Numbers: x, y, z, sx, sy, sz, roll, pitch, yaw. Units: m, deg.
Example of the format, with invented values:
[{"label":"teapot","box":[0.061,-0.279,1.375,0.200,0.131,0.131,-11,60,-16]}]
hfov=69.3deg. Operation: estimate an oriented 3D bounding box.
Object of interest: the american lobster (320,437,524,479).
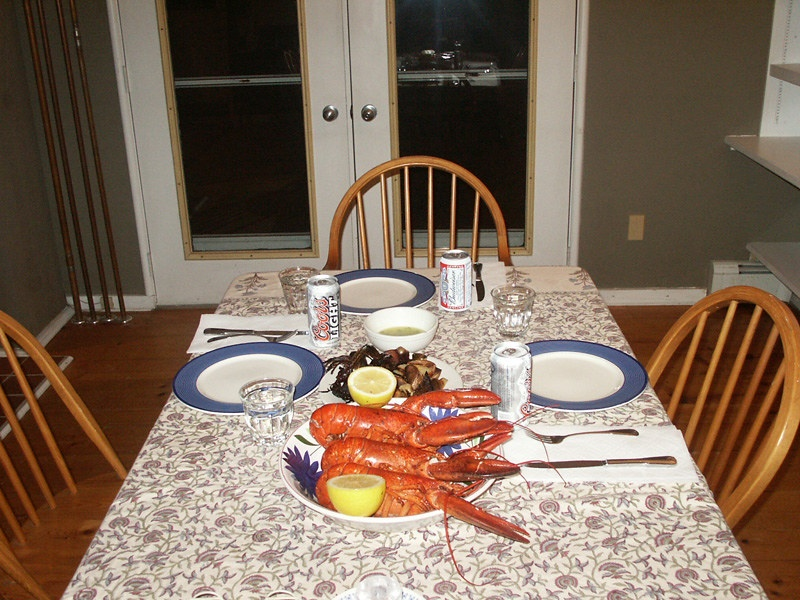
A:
[{"label":"american lobster","box":[0.016,0.245,0.892,0.296,0.049,0.086,-2,4,13]}]

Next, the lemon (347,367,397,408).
[{"label":"lemon","box":[-0.044,0.161,1.106,0.095,0.051,0.093,-4,-5,-42]}]

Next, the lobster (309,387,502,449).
[{"label":"lobster","box":[0.010,0.205,0.980,0.327,0.059,0.188,-1,14,-1]}]

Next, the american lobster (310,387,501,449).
[{"label":"american lobster","box":[0.015,0.204,0.980,0.333,0.061,0.185,-1,14,0]}]

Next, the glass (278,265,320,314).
[{"label":"glass","box":[-0.239,-0.030,1.556,0.134,0.126,0.123,0,22,-1]}]

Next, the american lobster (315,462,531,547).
[{"label":"american lobster","box":[0.020,0.293,0.835,0.321,0.065,0.063,7,27,18]}]
